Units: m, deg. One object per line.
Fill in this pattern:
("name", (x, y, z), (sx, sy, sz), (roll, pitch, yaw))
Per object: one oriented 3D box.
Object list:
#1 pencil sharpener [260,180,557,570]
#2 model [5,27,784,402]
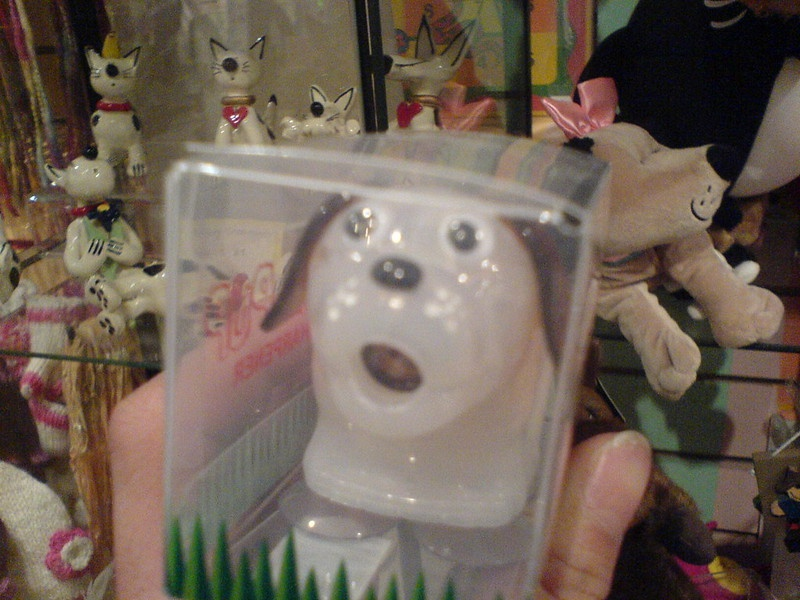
("pencil sharpener", (0.031, 0.063, 1.073), (0.400, 0.475, 0.268), (7, 23, 12))
("model", (0.003, -0.079, 1.316), (0.971, 0.431, 0.562), (8, 36, 6))
